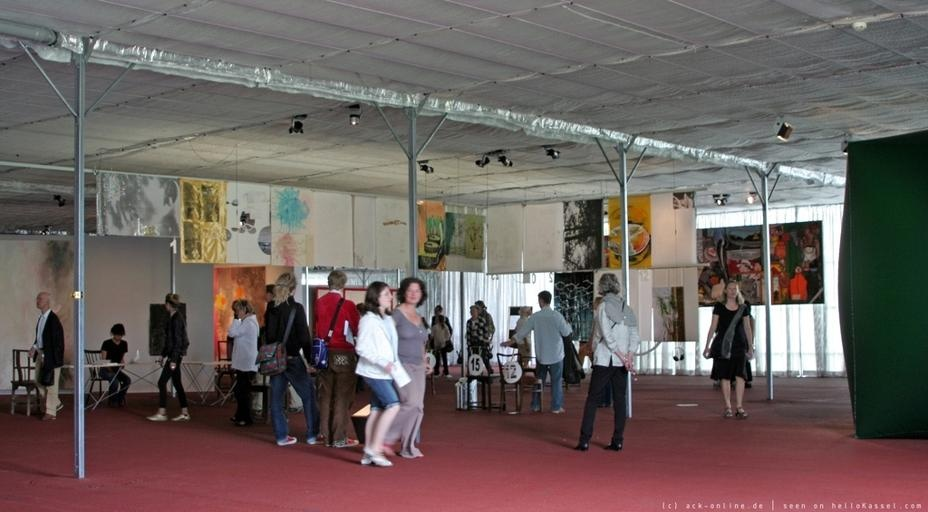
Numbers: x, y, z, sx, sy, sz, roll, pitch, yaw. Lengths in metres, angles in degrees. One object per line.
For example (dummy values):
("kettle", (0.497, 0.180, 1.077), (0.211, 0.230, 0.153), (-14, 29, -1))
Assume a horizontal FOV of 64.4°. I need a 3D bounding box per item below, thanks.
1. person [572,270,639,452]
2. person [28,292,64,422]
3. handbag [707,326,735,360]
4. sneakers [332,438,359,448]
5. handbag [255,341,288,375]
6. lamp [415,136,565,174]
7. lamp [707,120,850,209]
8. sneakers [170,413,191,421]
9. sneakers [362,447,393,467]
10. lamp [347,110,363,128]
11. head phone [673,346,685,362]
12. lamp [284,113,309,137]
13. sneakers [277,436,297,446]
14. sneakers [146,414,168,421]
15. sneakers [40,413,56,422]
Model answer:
("person", (2.348, 1.666, 11.964), (0.902, 2.823, 0.935), (-1, -2, 12))
("person", (-8.834, 2.057, 15.607), (0.565, 2.602, 1.205), (1, -2, -30))
("handbag", (4.806, 1.608, 13.714), (0.445, 0.536, 0.260), (-1, -12, 44))
("sneakers", (-1.948, 3.079, 12.189), (0.302, 0.106, 0.159), (-2, 0, -20))
("handbag", (-3.078, 1.728, 12.266), (0.659, 0.574, 0.476), (-4, -13, 20))
("lamp", (0.759, -2.401, 18.514), (3.461, 0.434, 1.459), (-1, -2, 21))
("lamp", (8.010, -2.149, 19.159), (2.755, 1.399, 2.521), (19, -19, -27))
("sneakers", (-5.721, 3.207, 14.829), (0.481, 0.174, 0.169), (1, -10, 4))
("sneakers", (-1.320, 2.990, 11.011), (0.510, 0.196, 0.219), (-1, -6, 13))
("lamp", (-2.174, -2.754, 14.687), (0.245, 0.324, 0.092), (1, -1, 2))
("head phone", (7.317, 3.305, 25.052), (0.406, 0.517, 0.280), (4, -17, -9))
("lamp", (-3.479, -2.739, 15.294), (0.364, 0.432, 0.414), (8, 3, -21))
("sneakers", (-2.988, 3.088, 12.435), (0.304, 0.118, 0.148), (0, -1, -24))
("sneakers", (-6.175, 3.233, 14.810), (0.349, 0.115, 0.191), (4, -11, -5))
("sneakers", (-8.578, 3.317, 15.217), (0.265, 0.103, 0.143), (8, -14, -37))
